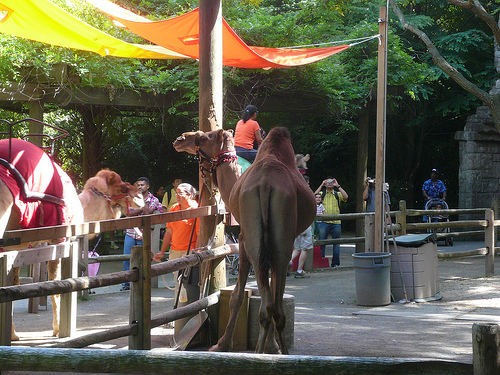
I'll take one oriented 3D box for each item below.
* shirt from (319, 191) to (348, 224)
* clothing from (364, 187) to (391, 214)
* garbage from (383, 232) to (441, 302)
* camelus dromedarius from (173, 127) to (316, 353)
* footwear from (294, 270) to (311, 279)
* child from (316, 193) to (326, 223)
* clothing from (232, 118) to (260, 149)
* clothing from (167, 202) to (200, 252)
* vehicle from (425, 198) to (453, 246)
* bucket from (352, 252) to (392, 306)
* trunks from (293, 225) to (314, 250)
[{"bbox_3d":[1.875,0.333,19.589,0.585,0.697,0.297,-2,36,12],"label":"shirt"},{"bbox_3d":[2.543,0.253,17.172,0.674,0.595,0.361,1,-9,-1],"label":"clothing"},{"bbox_3d":[2.941,1.493,16.023,1.140,1.064,1.126,-1,0,17],"label":"garbage"},{"bbox_3d":[0.020,0.708,12.339,1.094,3.250,1.554,2,-4,-34],"label":"camelus dromedarius"},{"bbox_3d":[1.095,1.792,17.880,0.341,0.134,0.141,1,1,-14],"label":"footwear"},{"bbox_3d":[1.582,0.364,19.350,0.201,0.493,0.537,-1,-4,6],"label":"child"},{"bbox_3d":[-0.064,-0.958,15.432,0.399,0.581,0.399,4,-18,4],"label":"clothing"},{"bbox_3d":[-1.236,0.802,15.018,0.563,0.570,0.308,16,-16,-27],"label":"clothing"},{"bbox_3d":[4.743,0.853,21.515,0.829,1.066,0.908,6,18,25],"label":"vehicle"},{"bbox_3d":[2.236,1.650,15.533,1.131,0.917,0.851,-1,4,7],"label":"bucket"},{"bbox_3d":[1.135,1.081,17.894,0.328,0.523,0.466,28,-29,-37],"label":"trunks"}]
